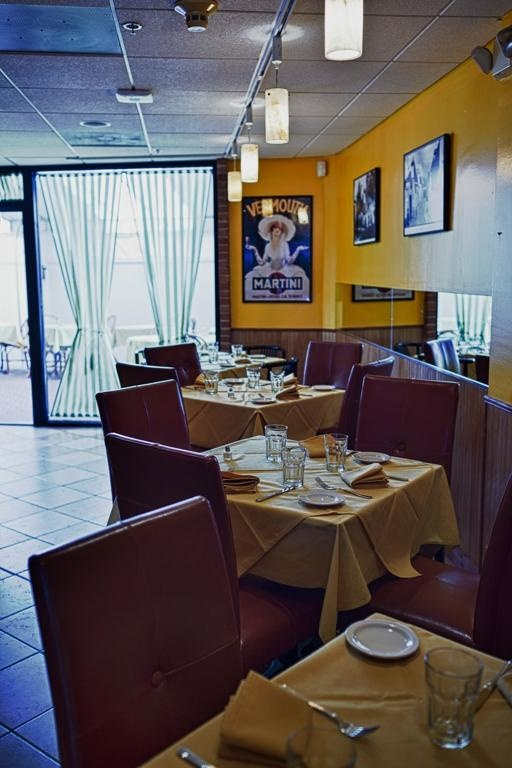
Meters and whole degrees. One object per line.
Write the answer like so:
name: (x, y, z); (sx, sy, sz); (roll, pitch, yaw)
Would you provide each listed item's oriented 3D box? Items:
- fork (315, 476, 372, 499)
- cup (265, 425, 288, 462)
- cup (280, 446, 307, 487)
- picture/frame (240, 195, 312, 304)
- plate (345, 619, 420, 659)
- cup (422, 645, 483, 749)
fork: (0.318, 0.375, 1.971); (0.182, 0.029, 0.027); (13, 13, 36)
cup: (0.080, 0.251, 2.304); (0.123, 0.190, 0.129); (3, 3, 0)
cup: (0.141, 0.308, 2.121); (0.116, 0.177, 0.120); (3, 6, 0)
picture/frame: (0.251, -1.730, 6.849); (1.164, 1.765, 0.060); (-1, 16, 0)
plate: (0.227, 0.461, 1.003); (0.130, 0.024, 0.154); (-1, 7, 9)
cup: (0.254, 0.407, 0.707); (0.069, 0.121, 0.079); (0, 7, 22)
